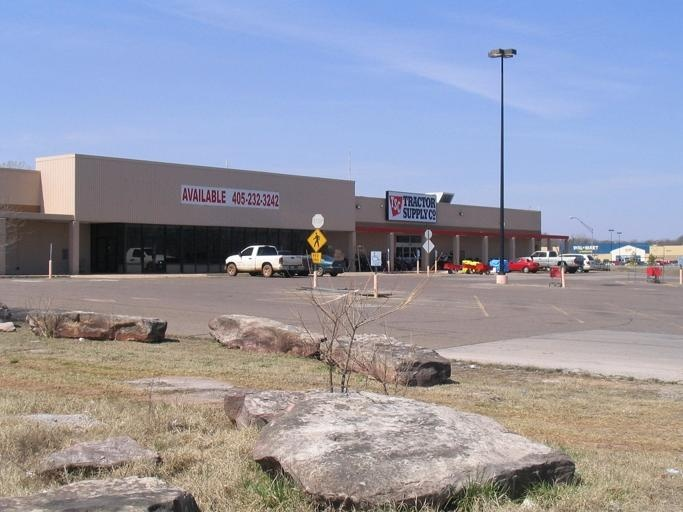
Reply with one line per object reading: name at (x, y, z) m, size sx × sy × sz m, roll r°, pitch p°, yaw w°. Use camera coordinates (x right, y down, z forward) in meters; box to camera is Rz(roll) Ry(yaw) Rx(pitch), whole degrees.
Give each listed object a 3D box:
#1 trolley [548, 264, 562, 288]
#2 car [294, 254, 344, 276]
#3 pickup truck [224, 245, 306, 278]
trolley at (12.758, 1.150, 48.560) m, size 0.882 × 1.002 × 1.752 m, roll -2°, pitch -13°, yaw 15°
car at (-1.383, 0.487, 46.765) m, size 2.451 × 0.918 × 1.089 m, roll 3°, pitch 3°, yaw 24°
pickup truck at (-4.350, 0.310, 46.500) m, size 4.010 × 1.604 × 2.014 m, roll 4°, pitch 3°, yaw 37°
